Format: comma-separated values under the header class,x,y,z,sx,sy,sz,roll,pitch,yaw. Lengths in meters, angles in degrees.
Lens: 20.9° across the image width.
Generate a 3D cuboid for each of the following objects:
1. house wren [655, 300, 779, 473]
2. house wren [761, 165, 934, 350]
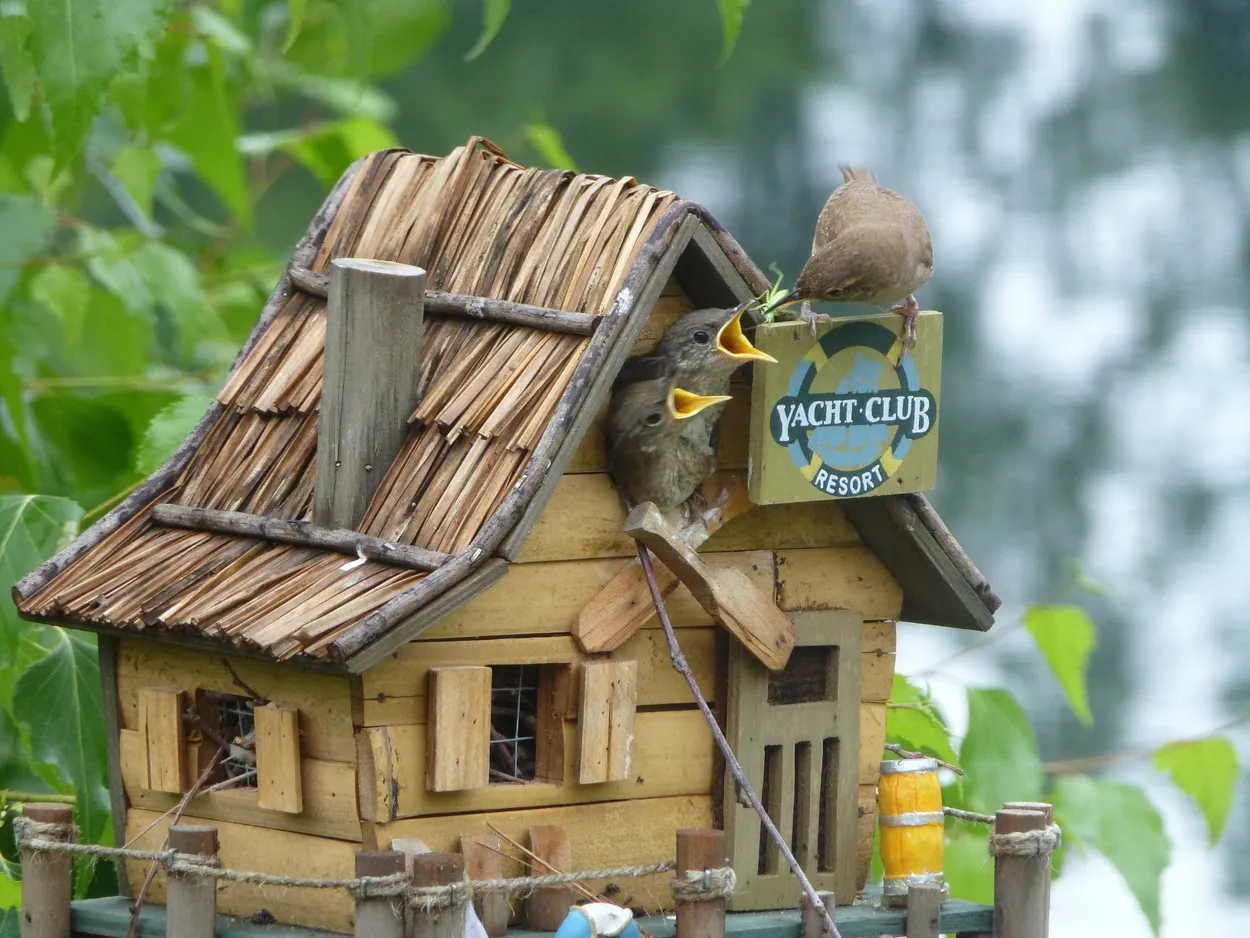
class,x,y,z,sx,sy,sz,roll,pitch,yaw
house wren,0.273,-0.284,10.359,0.349,0.472,0.348,0,3,-12
house wren,0.749,-0.712,10.611,0.449,0.381,0.839,9,39,2
